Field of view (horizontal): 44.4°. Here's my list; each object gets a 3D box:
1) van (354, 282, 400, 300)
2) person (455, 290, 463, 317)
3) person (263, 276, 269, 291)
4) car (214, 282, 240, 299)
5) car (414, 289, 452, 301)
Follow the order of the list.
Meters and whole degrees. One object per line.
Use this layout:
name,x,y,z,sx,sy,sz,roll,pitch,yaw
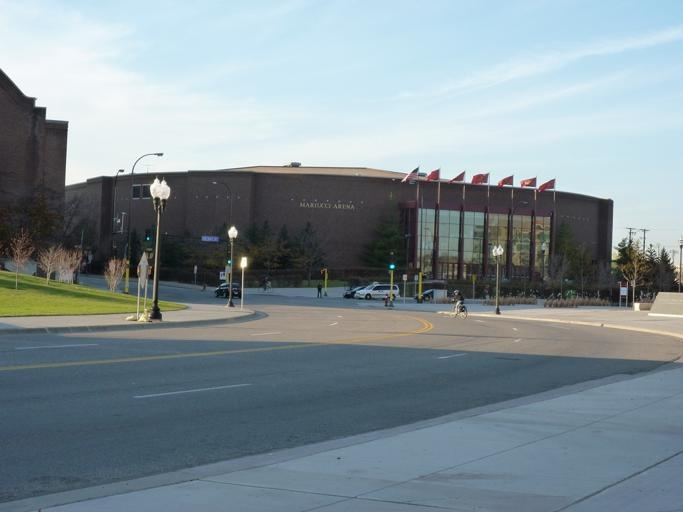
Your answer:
van,2.853,3.129,73.648,3.082,1.191,1.685,3,-3,-14
person,6.685,2.722,47.715,0.607,1.486,1.377,4,0,2
person,-7.082,2.608,78.637,0.498,1.160,2.260,2,2,-6
car,-9.346,2.813,66.639,1.360,1.039,2.107,-2,6,-42
car,7.718,3.327,70.551,2.545,0.963,3.840,2,2,19
